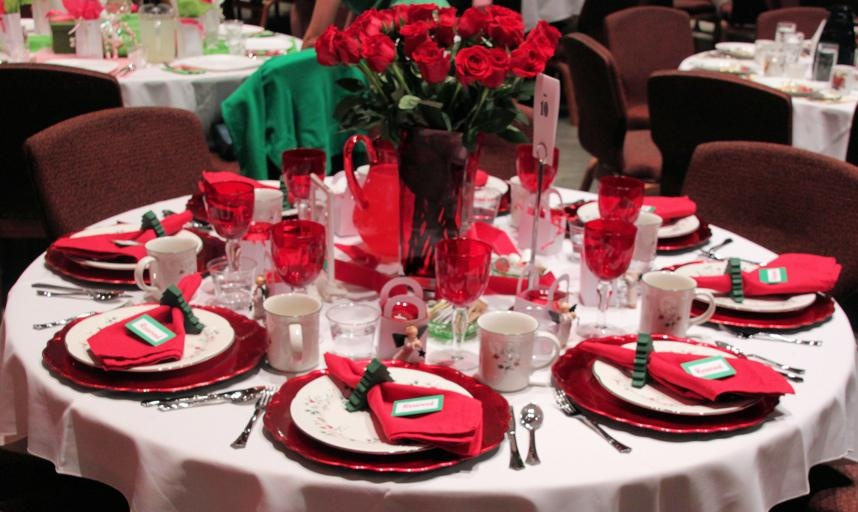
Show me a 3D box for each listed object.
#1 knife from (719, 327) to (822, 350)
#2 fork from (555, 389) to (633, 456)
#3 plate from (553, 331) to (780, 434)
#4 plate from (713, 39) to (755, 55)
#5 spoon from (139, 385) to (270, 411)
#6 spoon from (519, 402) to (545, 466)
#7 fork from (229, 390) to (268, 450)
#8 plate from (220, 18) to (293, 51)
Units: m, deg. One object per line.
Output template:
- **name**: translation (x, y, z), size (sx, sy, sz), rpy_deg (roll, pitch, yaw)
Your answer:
- **knife**: translation (0.892, 0.214, 1.544), size (0.174, 0.026, 0.024), rpy_deg (6, 44, 12)
- **fork**: translation (0.364, 0.365, 1.295), size (0.026, 0.024, 0.153), rpy_deg (-9, 44, -34)
- **plate**: translation (0.533, 0.299, 1.334), size (0.311, 0.064, 0.286), rpy_deg (6, 24, 19)
- **plate**: translation (2.255, -1.512, 4.355), size (0.239, 0.057, 0.234), rpy_deg (-3, 25, -5)
- **spoon**: translation (-0.511, 0.317, 1.332), size (0.230, 0.035, 0.039), rpy_deg (-1, 65, -2)
- **spoon**: translation (0.218, 0.380, 1.261), size (0.047, 0.025, 0.190), rpy_deg (7, 28, 5)
- **fork**: translation (-0.388, 0.350, 1.293), size (0.026, 0.019, 0.160), rpy_deg (17, 42, 2)
- **plate**: translation (-1.244, -1.557, 4.212), size (0.452, 0.065, 0.446), rpy_deg (7, 24, 1)
